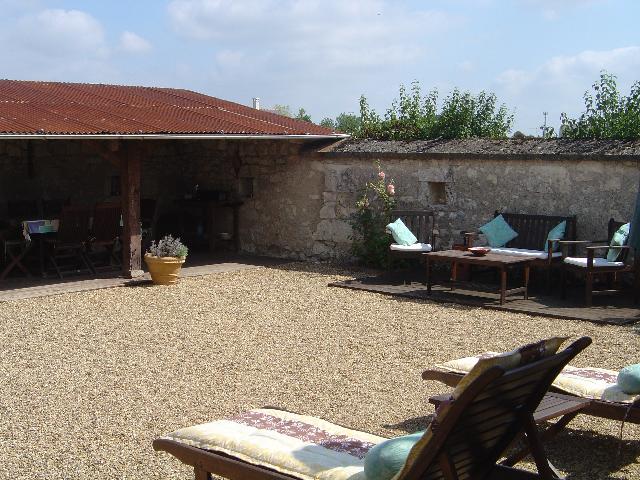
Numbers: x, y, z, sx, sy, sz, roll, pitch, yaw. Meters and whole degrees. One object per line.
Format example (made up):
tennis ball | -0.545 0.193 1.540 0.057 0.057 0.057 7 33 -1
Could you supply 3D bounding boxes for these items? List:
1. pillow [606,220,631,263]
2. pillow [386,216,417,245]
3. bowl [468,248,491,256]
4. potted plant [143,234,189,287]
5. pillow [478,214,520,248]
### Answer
pillow | 3.892 0.012 7.968 0.161 0.503 0.470 18 -4 -17
pillow | 1.282 -0.122 9.531 0.425 0.352 0.540 2 11 10
bowl | 2.089 0.143 8.015 0.236 0.093 0.292 1 10 10
potted plant | -2.264 0.270 9.264 0.729 0.770 0.742 0 0 -32
pillow | 2.704 -0.124 9.229 0.469 0.479 0.148 -40 -35 11
